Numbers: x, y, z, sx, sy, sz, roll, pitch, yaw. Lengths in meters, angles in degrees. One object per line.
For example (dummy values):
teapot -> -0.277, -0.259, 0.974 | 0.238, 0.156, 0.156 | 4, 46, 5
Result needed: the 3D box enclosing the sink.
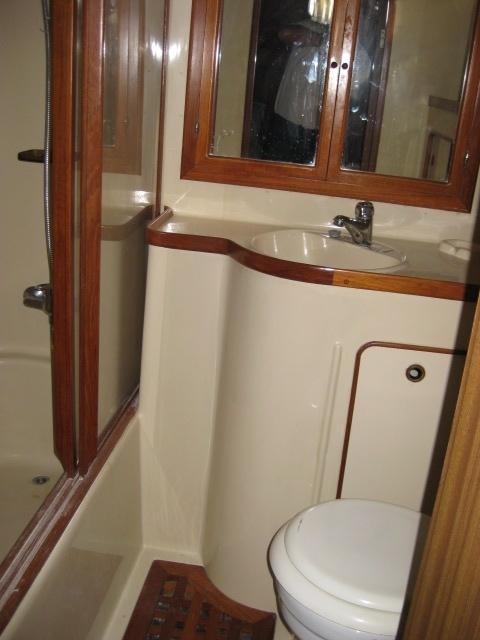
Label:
sink -> 0.230, -0.193, 1.355 | 0.389, 0.107, 0.269 | -3, 14, 5
